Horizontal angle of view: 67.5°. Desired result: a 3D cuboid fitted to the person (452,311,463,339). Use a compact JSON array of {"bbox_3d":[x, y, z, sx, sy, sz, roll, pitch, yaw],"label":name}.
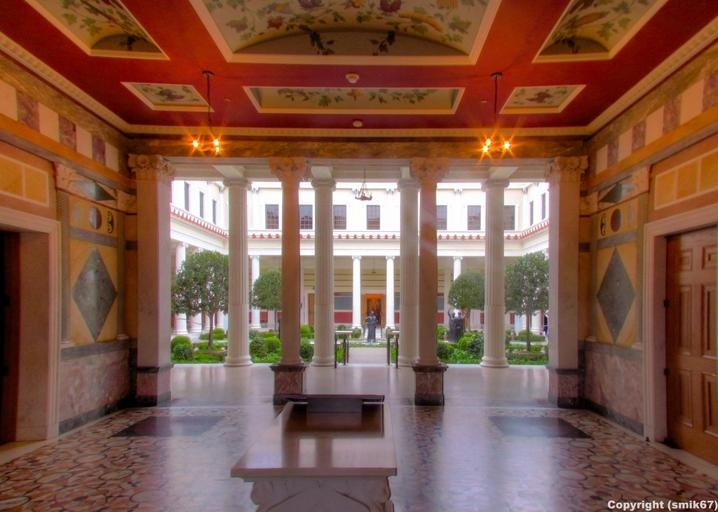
[{"bbox_3d":[3.454,2.479,18.952,0.463,1.004,0.813,1,5,11],"label":"person"}]
